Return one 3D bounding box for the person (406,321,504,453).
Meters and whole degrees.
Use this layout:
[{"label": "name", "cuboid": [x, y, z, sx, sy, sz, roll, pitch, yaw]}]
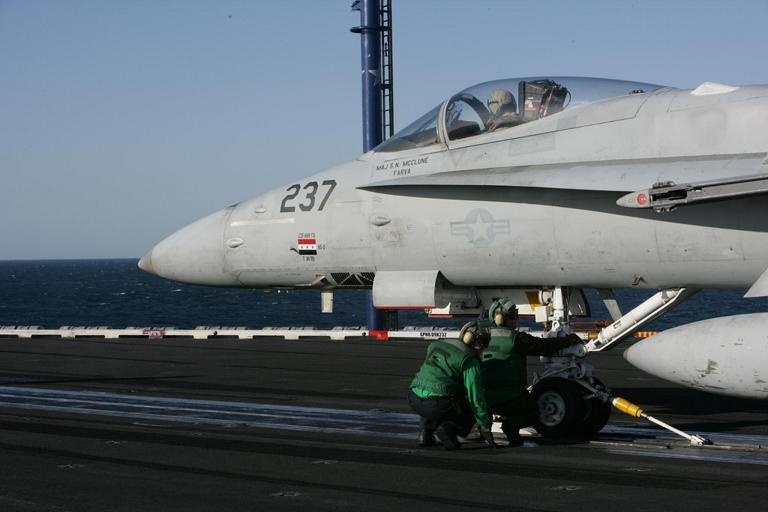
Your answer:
[{"label": "person", "cuboid": [0.899, 1.633, 9.991, 1.131, 1.599, 0.537, 5, 7, 11]}]
